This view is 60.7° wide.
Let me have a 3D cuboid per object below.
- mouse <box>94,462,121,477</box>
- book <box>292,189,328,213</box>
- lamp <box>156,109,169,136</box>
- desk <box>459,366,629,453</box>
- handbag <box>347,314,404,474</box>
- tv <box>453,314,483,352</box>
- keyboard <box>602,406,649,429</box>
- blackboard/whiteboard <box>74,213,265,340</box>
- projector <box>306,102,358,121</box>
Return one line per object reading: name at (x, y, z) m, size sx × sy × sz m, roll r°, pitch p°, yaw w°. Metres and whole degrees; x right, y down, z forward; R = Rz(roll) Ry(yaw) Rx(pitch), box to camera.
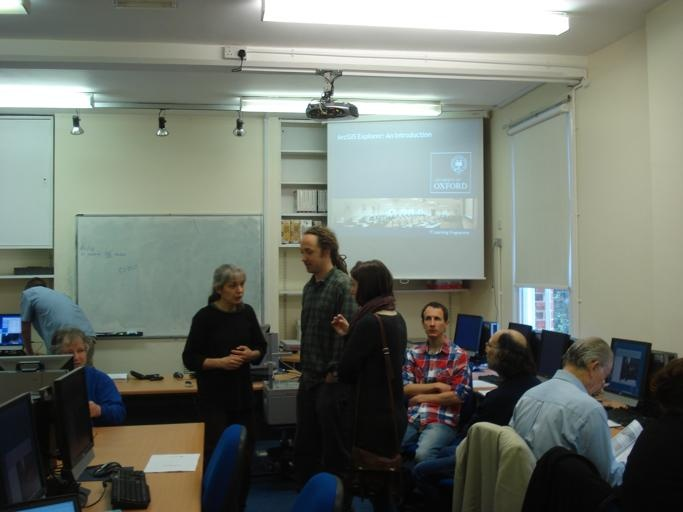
mouse at (-1.370, 1.250, 3.404) m, size 0.110 × 0.031 × 0.065 m, roll -1°, pitch 1°, yaw -31°
book at (-0.371, -0.671, 7.086) m, size 0.432 × 0.337 × 0.244 m, roll 0°, pitch 1°, yaw -6°
lamp at (-2.059, -1.547, 6.681) m, size 0.146 × 0.371 × 0.628 m, roll -3°, pitch 3°, yaw -17°
desk at (1.196, 0.913, 3.390) m, size 0.555 × 0.501 × 0.310 m, roll 13°, pitch 14°, yaw 35°
handbag at (0.202, 0.824, 3.490) m, size 0.282 × 0.921 × 0.111 m, roll -2°, pitch 3°, yaw 1°
tv at (1.366, 0.832, 6.217) m, size 0.358 × 0.384 × 0.027 m, roll 11°, pitch -5°, yaw -28°
keyboard at (2.039, 1.151, 4.171) m, size 0.247 × 0.063 × 0.240 m, roll -2°, pitch 2°, yaw -19°
blackboard/whiteboard at (-1.994, 0.262, 6.934) m, size 2.118 × 1.579 × 0.078 m, roll -1°, pitch 10°, yaw -11°
projector at (-0.096, -1.288, 5.164) m, size 0.260 × 0.102 × 0.218 m, roll -1°, pitch 3°, yaw -4°
